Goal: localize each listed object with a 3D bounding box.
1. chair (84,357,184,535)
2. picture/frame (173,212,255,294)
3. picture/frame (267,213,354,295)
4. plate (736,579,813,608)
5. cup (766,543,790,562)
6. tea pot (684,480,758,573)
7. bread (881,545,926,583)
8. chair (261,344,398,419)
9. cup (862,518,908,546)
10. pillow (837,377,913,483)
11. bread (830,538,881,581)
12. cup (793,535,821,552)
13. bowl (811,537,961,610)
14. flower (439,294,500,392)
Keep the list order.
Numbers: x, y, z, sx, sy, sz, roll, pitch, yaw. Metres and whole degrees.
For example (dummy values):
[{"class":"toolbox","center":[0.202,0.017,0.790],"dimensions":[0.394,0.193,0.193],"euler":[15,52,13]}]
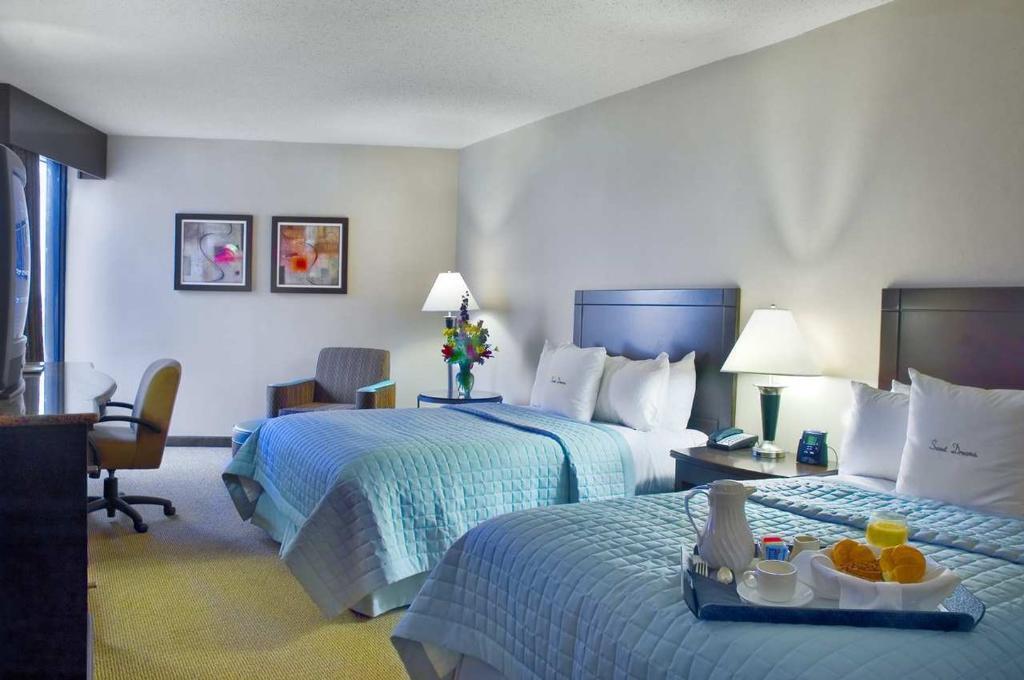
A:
[{"class":"chair","center":[-2.678,0.663,4.543],"dimensions":[0.807,1.034,0.804],"euler":[1,-2,-14]},{"class":"picture/frame","center":[-3.015,-0.881,6.786],"dimensions":[0.786,0.837,0.067],"euler":[1,3,-6]},{"class":"picture/frame","center":[-2.068,-0.867,6.843],"dimensions":[0.776,0.797,0.055],"euler":[1,3,-2]},{"class":"plate","center":[0.797,0.754,2.046],"dimensions":[0.222,0.033,0.105],"euler":[2,2,9]},{"class":"cup","center":[0.844,0.654,2.145],"dimensions":[0.053,0.043,0.054],"euler":[1,1,0]},{"class":"tea pot","center":[0.685,0.616,2.277],"dimensions":[0.252,0.288,0.189],"euler":[0,2,-2]},{"class":"bread","center":[1.169,0.665,2.028],"dimensions":[0.104,0.036,0.105],"euler":[-20,42,4]},{"class":"chair","center":[-1.542,0.353,6.199],"dimensions":[0.862,0.933,0.756],"euler":[0,-3,14]},{"class":"cup","center":[1.236,0.615,2.247],"dimensions":[0.093,0.071,0.094],"euler":[1,-6,0]},{"class":"pillow","center":[1.760,0.431,3.268],"dimensions":[0.144,0.371,0.401],"euler":[10,10,-30]},{"class":"bread","center":[1.052,0.692,2.101],"dimensions":[0.113,0.148,0.042],"euler":[-7,29,10]},{"class":"cup","center":[0.973,0.655,2.252],"dimensions":[0.067,0.066,0.068],"euler":[0,2,0]},{"class":"bowl","center":[1.106,0.670,2.021],"dimensions":[0.209,0.084,0.211],"euler":[-1,-2,0]},{"class":"flower","center":[-0.390,0.068,5.952],"dimensions":[0.500,0.729,0.521],"euler":[-1,6,18]}]
